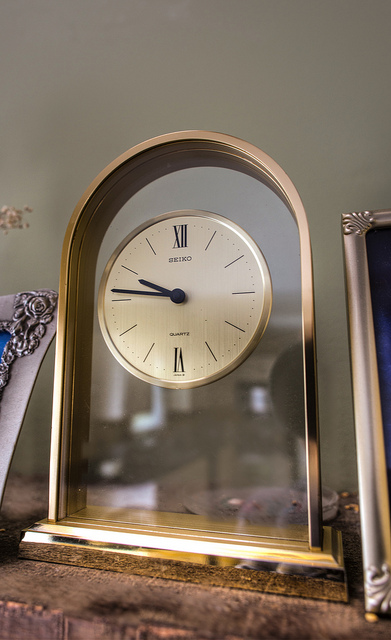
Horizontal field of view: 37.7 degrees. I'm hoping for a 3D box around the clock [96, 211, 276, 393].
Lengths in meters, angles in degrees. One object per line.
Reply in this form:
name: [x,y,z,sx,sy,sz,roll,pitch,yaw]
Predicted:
clock: [-0.006,-0.022,1.016,0.343,0.322,0.037,-3,-7,16]
